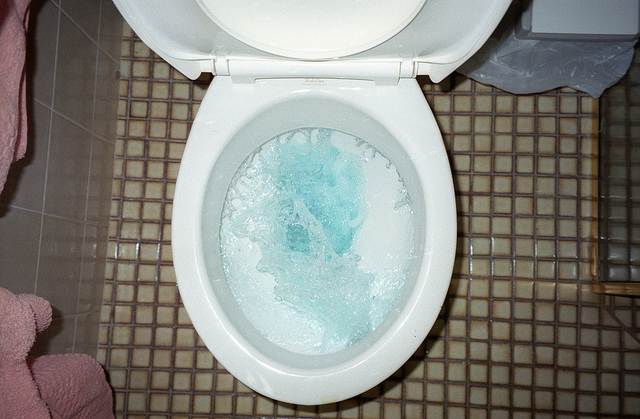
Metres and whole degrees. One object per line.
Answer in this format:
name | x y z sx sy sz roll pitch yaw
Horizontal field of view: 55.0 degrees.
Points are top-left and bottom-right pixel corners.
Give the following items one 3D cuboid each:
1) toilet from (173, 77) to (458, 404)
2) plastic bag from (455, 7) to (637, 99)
toilet | -0.018 0.098 1.868 0.789 0.363 0.937 0 88 -2
plastic bag | 0.725 -0.478 1.988 0.317 0.360 0.088 -2 58 10
